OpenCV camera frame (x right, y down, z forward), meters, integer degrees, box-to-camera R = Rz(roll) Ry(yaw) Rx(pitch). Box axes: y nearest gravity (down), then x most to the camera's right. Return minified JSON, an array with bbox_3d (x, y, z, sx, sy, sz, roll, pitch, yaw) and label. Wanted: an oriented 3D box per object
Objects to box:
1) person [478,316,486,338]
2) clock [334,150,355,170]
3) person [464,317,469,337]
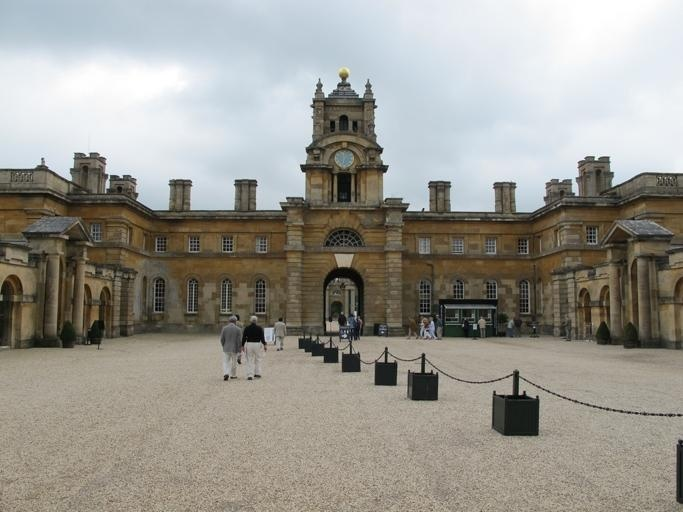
[{"bbox_3d":[9.198,4.566,51.486,0.485,1.268,0.739,-2,-5,9],"label":"person"},{"bbox_3d":[0.124,-6.505,53.528,1.096,1.227,0.170,9,-1,5],"label":"clock"},{"bbox_3d":[8.277,4.640,51.821,0.526,1.185,0.324,0,-5,-19],"label":"person"}]
